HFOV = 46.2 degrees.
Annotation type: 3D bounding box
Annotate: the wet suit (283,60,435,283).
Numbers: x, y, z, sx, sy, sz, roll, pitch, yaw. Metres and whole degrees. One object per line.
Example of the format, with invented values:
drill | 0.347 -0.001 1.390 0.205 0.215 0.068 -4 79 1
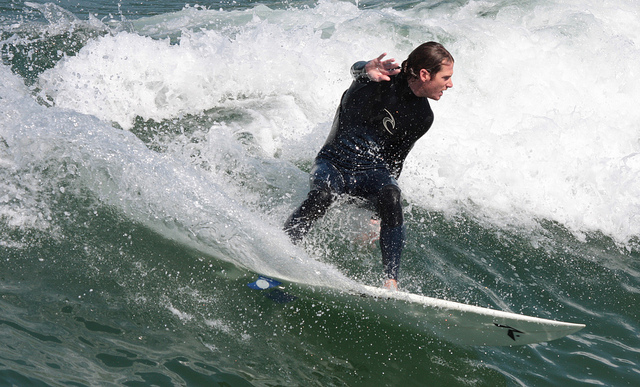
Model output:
wet suit | 0.590 -0.434 9.717 1.540 2.294 1.535 15 30 6
